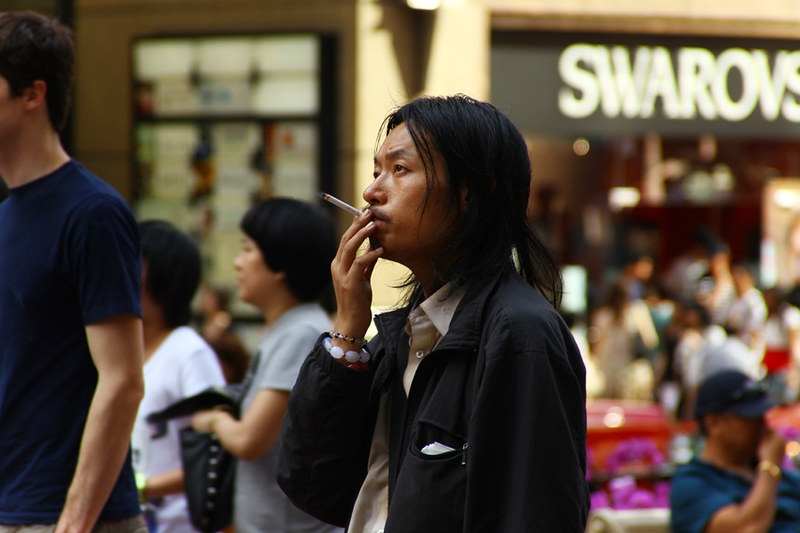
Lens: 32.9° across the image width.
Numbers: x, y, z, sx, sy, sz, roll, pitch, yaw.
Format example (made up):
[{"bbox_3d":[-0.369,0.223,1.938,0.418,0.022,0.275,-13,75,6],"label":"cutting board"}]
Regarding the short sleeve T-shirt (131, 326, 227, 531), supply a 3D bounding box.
[{"bbox_3d":[-1.388,1.066,8.465,0.405,1.139,0.925,-2,-23,-17],"label":"short sleeve T-shirt"}]
